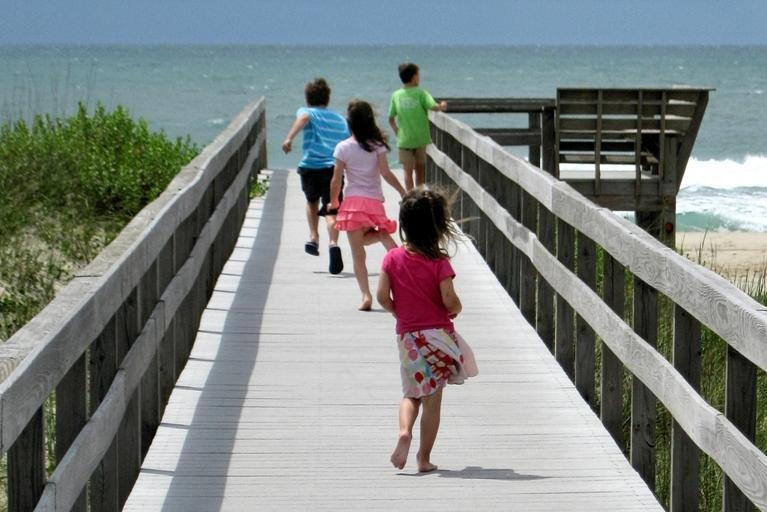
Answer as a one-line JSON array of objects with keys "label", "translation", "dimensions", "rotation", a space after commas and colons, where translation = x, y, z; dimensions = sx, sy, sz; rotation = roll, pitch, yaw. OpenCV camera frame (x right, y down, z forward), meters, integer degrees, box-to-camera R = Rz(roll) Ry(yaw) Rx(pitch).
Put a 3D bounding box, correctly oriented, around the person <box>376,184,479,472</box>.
[{"label": "person", "translation": [0.182, 0.412, 5.556], "dimensions": [0.600, 1.511, 0.628], "rotation": [-9, 21, -28]}]
